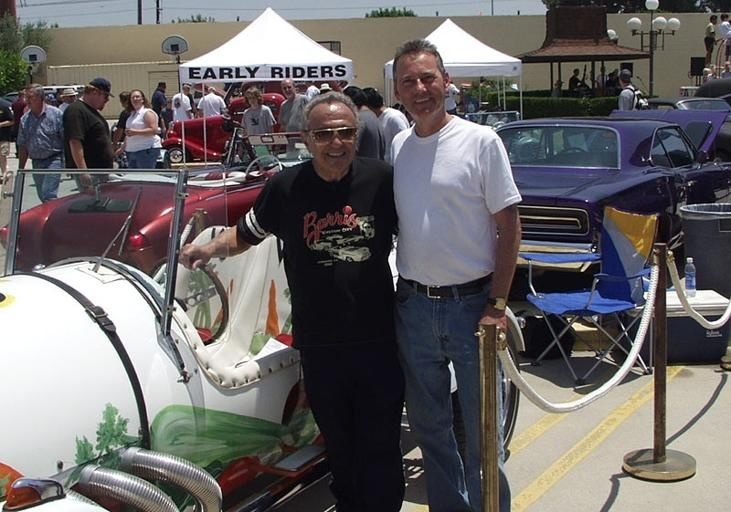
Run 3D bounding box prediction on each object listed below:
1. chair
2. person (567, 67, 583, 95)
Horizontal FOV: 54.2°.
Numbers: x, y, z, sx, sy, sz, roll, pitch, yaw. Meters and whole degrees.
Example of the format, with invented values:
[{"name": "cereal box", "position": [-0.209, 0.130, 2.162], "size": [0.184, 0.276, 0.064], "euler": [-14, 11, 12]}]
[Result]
[{"name": "chair", "position": [1.876, 0.331, 5.963], "size": [0.892, 1.455, 1.167], "euler": [0, 8, 9]}, {"name": "person", "position": [10.031, -8.411, 34.191], "size": [0.507, 1.269, 3.019], "euler": [2, 13, 16]}]
